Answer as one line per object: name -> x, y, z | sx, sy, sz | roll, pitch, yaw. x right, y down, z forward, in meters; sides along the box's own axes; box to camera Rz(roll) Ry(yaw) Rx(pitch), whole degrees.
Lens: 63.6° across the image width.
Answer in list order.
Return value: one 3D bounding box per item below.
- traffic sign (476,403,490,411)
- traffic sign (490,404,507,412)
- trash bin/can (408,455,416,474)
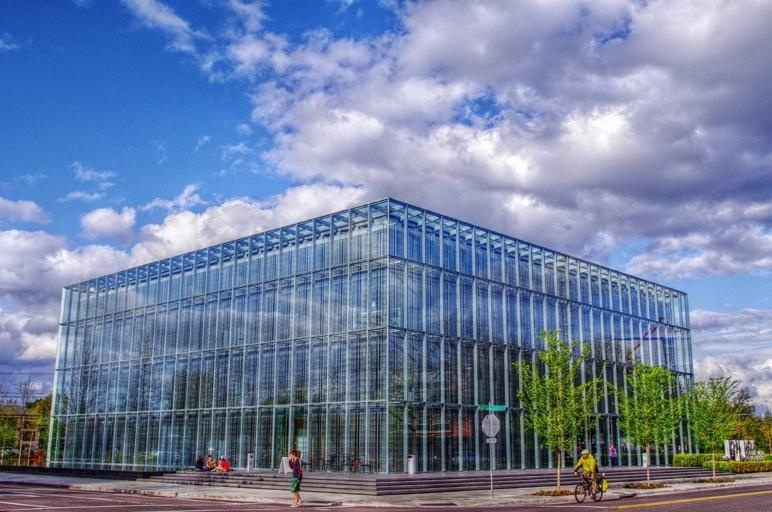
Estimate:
traffic sign -> 8.022, 12.490, 51.241 | 1.152, 0.637, 0.212 | 17, -27, -39
traffic sign -> 9.364, 12.729, 52.078 | 0.850, 0.551, 2.186 | -12, -23, 26
trash bin/can -> 1.942, 15.333, 45.730 | 0.732, 1.280, 0.612 | 7, -22, -20
